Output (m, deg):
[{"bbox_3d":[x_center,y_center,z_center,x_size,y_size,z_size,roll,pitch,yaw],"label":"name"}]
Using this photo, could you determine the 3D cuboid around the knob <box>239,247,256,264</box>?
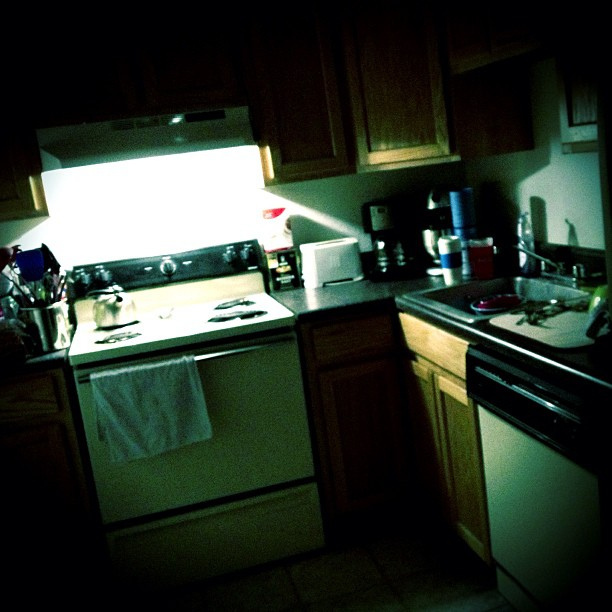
[{"bbox_3d":[-0.236,-0.208,2.440,0.058,0.062,0.060,-1,13,-15],"label":"knob"}]

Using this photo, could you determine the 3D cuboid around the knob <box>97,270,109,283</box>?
[{"bbox_3d":[-0.783,-0.112,2.300,0.037,0.041,0.039,-5,16,-21],"label":"knob"}]

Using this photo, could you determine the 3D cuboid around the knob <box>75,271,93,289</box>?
[{"bbox_3d":[-0.855,-0.100,2.290,0.058,0.061,0.060,2,1,39],"label":"knob"}]

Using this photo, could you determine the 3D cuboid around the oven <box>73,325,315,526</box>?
[{"bbox_3d":[-0.305,0.356,2.174,0.863,0.681,0.596,-10,11,14],"label":"oven"}]

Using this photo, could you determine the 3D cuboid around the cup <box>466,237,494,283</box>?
[{"bbox_3d":[0.618,-0.167,2.073,0.086,0.140,0.083,-7,6,1],"label":"cup"}]

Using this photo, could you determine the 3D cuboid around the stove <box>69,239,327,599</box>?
[{"bbox_3d":[-0.413,0.359,2.204,0.849,1.078,0.882,-3,13,9],"label":"stove"}]

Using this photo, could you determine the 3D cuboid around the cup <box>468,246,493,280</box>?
[{"bbox_3d":[0.604,-0.149,2.050,0.085,0.119,0.077,-13,12,3],"label":"cup"}]

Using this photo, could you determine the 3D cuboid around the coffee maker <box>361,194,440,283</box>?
[{"bbox_3d":[0.404,-0.279,2.466,0.281,0.535,0.279,-2,-17,-3],"label":"coffee maker"}]

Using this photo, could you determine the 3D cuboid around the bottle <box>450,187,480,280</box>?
[{"bbox_3d":[0.594,-0.266,2.198,0.075,0.322,0.082,-9,7,1],"label":"bottle"}]

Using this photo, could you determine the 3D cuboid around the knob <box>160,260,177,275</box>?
[{"bbox_3d":[-0.541,-0.151,2.341,0.053,0.057,0.032,-6,11,-20],"label":"knob"}]

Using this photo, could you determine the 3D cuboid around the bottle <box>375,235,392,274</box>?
[{"bbox_3d":[0.323,-0.222,2.488,0.062,0.138,0.130,-8,12,0],"label":"bottle"}]

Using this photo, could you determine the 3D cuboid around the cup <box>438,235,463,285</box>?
[{"bbox_3d":[0.511,-0.164,2.091,0.083,0.172,0.083,-9,19,3],"label":"cup"}]
